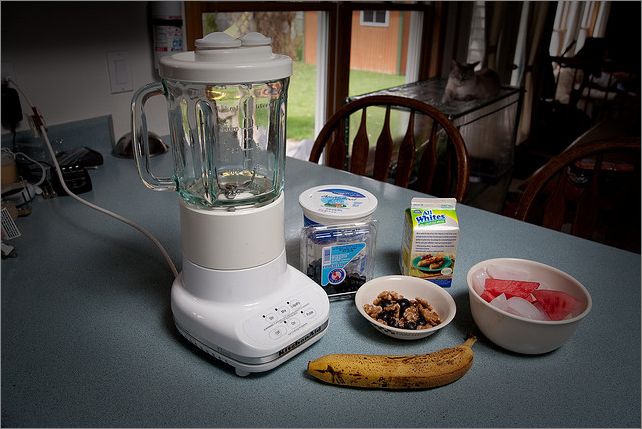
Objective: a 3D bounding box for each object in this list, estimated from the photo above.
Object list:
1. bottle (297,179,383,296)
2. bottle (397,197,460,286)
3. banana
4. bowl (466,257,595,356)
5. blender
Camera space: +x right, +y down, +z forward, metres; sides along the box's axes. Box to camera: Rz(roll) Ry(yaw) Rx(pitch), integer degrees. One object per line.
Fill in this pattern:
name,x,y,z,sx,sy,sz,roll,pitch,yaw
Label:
bottle,0.041,0.061,1.057,0.206,0.247,0.209,1,31,1
bottle,0.246,0.058,1.042,0.141,0.224,0.094,2,22,1
banana,0.146,0.284,0.841,0.336,0.109,0.083,1,10,-8
bowl,0.415,0.189,0.909,0.225,0.117,0.177,17,32,29
blender,-0.168,0.002,0.949,0.343,0.723,0.382,7,22,16
